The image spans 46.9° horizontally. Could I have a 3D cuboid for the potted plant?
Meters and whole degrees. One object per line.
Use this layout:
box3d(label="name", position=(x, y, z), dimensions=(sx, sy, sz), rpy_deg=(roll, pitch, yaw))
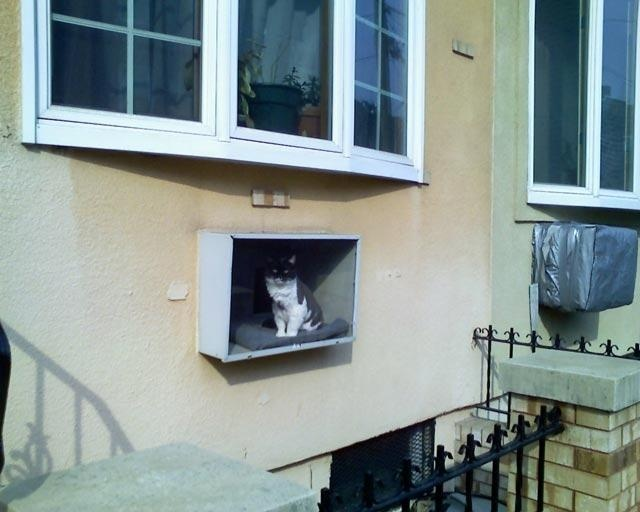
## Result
box3d(label="potted plant", position=(-0.288, -1.111, 4.892), dimensions=(0.516, 0.606, 0.457), rpy_deg=(-1, 5, -34))

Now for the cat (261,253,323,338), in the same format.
box3d(label="cat", position=(-0.171, 0.265, 4.986), dimensions=(0.397, 0.512, 0.395), rpy_deg=(-1, 6, -4))
